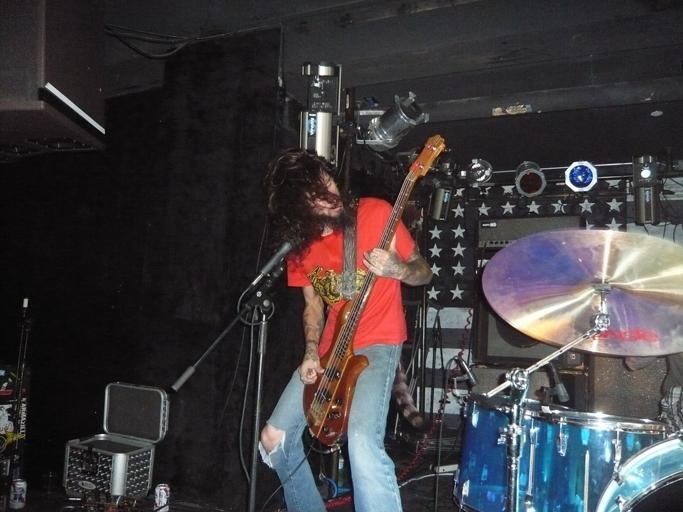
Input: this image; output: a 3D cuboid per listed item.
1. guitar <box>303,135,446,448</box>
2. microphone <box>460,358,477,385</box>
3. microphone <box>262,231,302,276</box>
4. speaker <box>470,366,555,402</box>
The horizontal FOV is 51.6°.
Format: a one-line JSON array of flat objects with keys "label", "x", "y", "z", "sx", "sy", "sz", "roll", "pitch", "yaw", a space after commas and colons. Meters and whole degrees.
[{"label": "guitar", "x": 0.185, "y": 0.200, "z": 4.705, "sx": 0.814, "sy": 2.106, "sz": 0.329, "roll": 2, "pitch": -10, "yaw": -4}, {"label": "microphone", "x": 0.892, "y": 0.842, "z": 4.919, "sx": 0.080, "sy": 0.067, "sz": 0.306, "roll": -14, "pitch": -36, "yaw": 13}, {"label": "microphone", "x": -0.394, "y": -0.001, "z": 4.601, "sx": 0.106, "sy": 0.387, "sz": 0.116, "roll": 37, "pitch": -14, "yaw": 30}, {"label": "speaker", "x": 1.337, "y": 0.986, "z": 5.414, "sx": 0.605, "sy": 0.410, "sz": 0.328, "roll": 0, "pitch": 1, "yaw": 3}]
